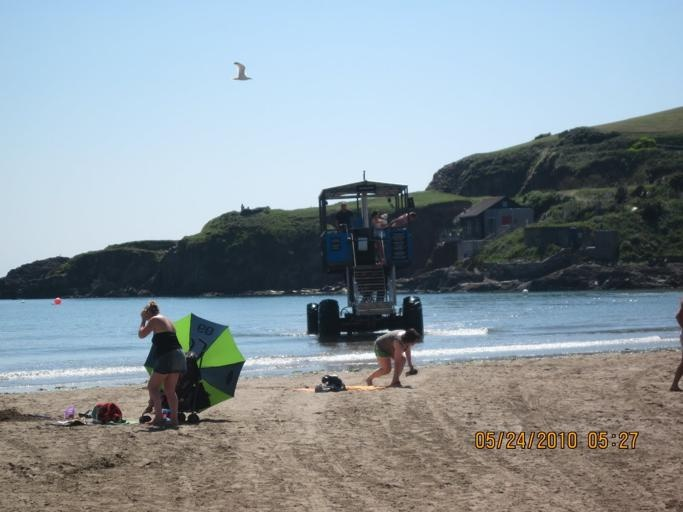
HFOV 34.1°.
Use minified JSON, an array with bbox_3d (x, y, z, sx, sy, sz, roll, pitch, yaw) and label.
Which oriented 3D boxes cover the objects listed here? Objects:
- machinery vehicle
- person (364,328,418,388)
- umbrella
[{"bbox_3d":[1.135,0.343,50.654,5.377,7.392,6.575,-4,-3,-11],"label":"machinery vehicle"},{"bbox_3d":[1.811,3.384,37.054,1.947,1.485,0.557,-3,-1,34],"label":"person"},{"bbox_3d":[-4.547,3.527,36.126,3.063,3.134,2.904,5,-10,1],"label":"umbrella"}]
